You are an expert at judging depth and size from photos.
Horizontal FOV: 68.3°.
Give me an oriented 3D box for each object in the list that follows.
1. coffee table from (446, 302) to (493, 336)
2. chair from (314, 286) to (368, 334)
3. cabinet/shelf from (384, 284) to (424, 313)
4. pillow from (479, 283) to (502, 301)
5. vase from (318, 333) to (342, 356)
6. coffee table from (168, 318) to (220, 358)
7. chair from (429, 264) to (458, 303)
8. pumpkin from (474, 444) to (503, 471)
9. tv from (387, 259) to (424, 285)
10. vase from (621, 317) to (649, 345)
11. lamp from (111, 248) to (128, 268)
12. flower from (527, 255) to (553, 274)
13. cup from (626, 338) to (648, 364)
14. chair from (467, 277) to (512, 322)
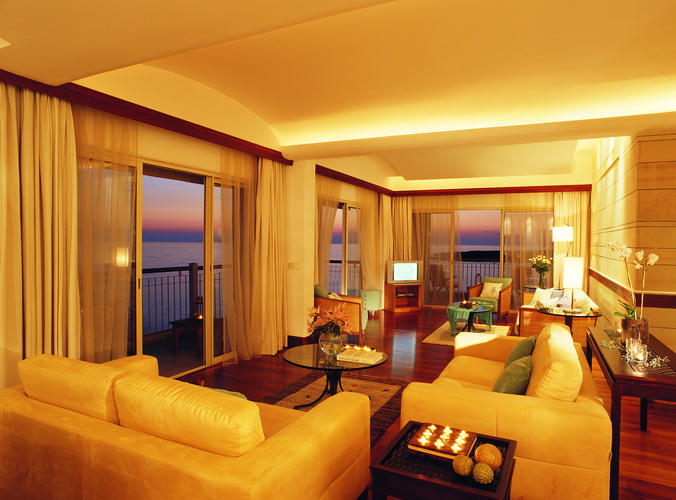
[{"bbox_3d":[2.136,1.063,8.051,0.629,0.377,0.663,0,2,14],"label":"coffee table"},{"bbox_3d":[0.043,0.876,7.331,0.743,0.870,0.596,0,-1,5],"label":"chair"},{"bbox_3d":[1.413,1.009,10.655,0.914,0.713,0.516,0,0,-41],"label":"cabinet/shelf"},{"bbox_3d":[3.031,0.794,9.843,0.509,0.463,0.261,4,3,29],"label":"pillow"},{"bbox_3d":[-0.071,0.939,5.096,0.204,0.296,0.213,1,5,12],"label":"vase"},{"bbox_3d":[-1.786,1.021,6.155,0.458,0.370,0.456,0,0,24],"label":"coffee table"},{"bbox_3d":[2.354,0.793,11.355,0.751,1.057,0.727,2,-1,-30],"label":"chair"},{"bbox_3d":[0.900,1.231,2.994,0.135,0.090,0.137,12,8,44],"label":"pumpkin"},{"bbox_3d":[1.425,0.480,10.534,0.712,0.517,0.421,1,5,-8],"label":"tv"},{"bbox_3d":[2.469,0.652,4.141,0.210,0.245,0.211,1,-2,20],"label":"vase"},{"bbox_3d":[-2.189,0.074,5.029,0.146,0.182,0.153,5,10,20],"label":"lamp"},{"bbox_3d":[4.072,0.291,9.928,0.373,0.411,0.379,1,-4,6],"label":"flower"},{"bbox_3d":[2.417,0.805,4.027,0.165,0.180,0.177,-1,1,0],"label":"cup"},{"bbox_3d":[3.024,0.933,9.732,0.673,0.895,0.875,0,-6,34],"label":"chair"}]
